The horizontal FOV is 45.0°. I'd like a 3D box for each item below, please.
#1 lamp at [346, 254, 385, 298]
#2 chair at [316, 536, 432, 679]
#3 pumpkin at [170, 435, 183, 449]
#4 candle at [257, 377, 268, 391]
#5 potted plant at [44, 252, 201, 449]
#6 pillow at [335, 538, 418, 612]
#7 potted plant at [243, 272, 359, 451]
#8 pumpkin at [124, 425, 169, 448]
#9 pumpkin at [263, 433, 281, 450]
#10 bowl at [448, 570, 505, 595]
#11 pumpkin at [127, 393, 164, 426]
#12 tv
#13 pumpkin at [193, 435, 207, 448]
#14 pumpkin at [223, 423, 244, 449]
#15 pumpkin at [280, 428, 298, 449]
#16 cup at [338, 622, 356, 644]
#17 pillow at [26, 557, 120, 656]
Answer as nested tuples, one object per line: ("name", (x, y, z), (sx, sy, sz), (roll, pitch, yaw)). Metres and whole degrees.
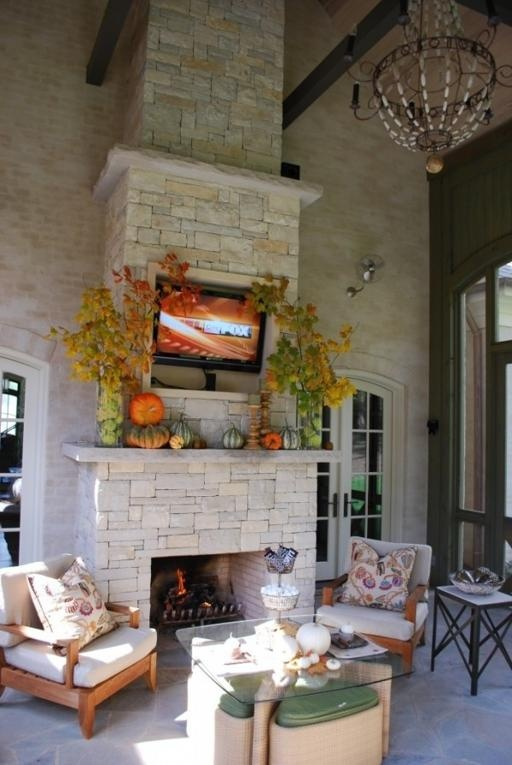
("lamp", (1.076, -1.060, 6.425), (0.160, 0.301, 0.514), (5, -51, -52))
("chair", (0.801, 1.408, 4.169), (0.709, 0.763, 0.858), (-4, -24, 26))
("pumpkin", (-0.525, 0.395, 4.117), (0.100, 0.094, 0.077), (3, -6, -15))
("candle", (0.051, 0.017, 4.847), (0.125, 0.119, 0.089), (1, 3, -18))
("potted plant", (-0.835, -0.244, 4.295), (0.776, 1.365, 0.951), (2, -6, -3))
("pillow", (0.852, 1.297, 4.428), (0.656, 0.575, 0.340), (-4, -24, 33))
("potted plant", (0.351, -0.151, 4.931), (0.781, 1.305, 1.153), (1, -6, 5))
("pumpkin", (-0.728, 0.362, 4.103), (0.304, 0.152, 0.273), (2, -6, -3))
("pumpkin", (0.116, 0.424, 4.497), (0.144, 0.120, 0.097), (2, -6, 1))
("bowl", (1.404, 1.264, 3.967), (0.254, 0.131, 0.306), (4, -6, -20))
("pumpkin", (-0.737, 0.177, 4.102), (0.226, 0.232, 0.128), (2, -6, -7))
("tv", (-0.374, -0.454, 4.533), (0.785, 0.539, 0.083), (2, 5, -28))
("pumpkin", (-0.393, 0.416, 4.309), (0.058, 0.053, 0.098), (0, 12, -4))
("pumpkin", (-0.157, 0.387, 4.452), (0.145, 0.200, 0.152), (-6, -11, 30))
("pumpkin", (0.262, 0.417, 4.601), (0.083, 0.155, 0.193), (-3, -7, 38))
("cup", (0.465, 1.289, 3.180), (0.071, 0.080, 0.072), (1, -9, 0))
("pillow", (-0.990, 1.198, 3.505), (0.336, 0.561, 0.645), (-14, -9, 16))
